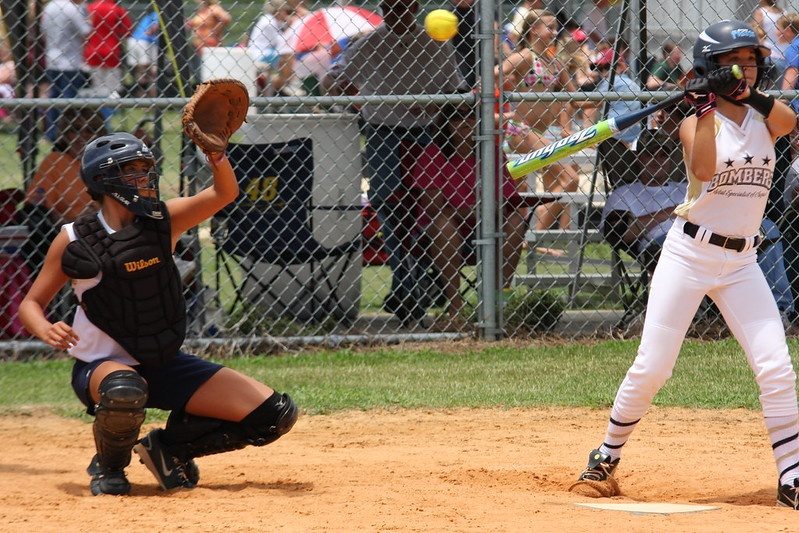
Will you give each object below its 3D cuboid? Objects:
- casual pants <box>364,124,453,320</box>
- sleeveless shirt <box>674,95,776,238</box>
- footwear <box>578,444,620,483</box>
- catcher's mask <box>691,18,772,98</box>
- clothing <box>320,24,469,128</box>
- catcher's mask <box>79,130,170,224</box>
[{"bbox_3d":[-0.038,-0.396,8.543,0.536,1.150,0.669,-9,1,10],"label":"casual pants"},{"bbox_3d":[1.755,-0.498,5.610,0.299,0.640,0.380,11,19,39],"label":"sleeveless shirt"},{"bbox_3d":[1.095,1.078,5.783,0.110,0.127,0.322,31,45,22],"label":"footwear"},{"bbox_3d":[1.754,-1.126,5.661,0.329,0.295,0.381,-3,2,-39],"label":"catcher's mask"},{"bbox_3d":[0.011,-1.499,8.474,1.090,0.602,0.269,1,4,-5],"label":"clothing"},{"bbox_3d":[-1.501,-0.502,5.725,0.517,0.444,0.389,-3,3,7],"label":"catcher's mask"}]
